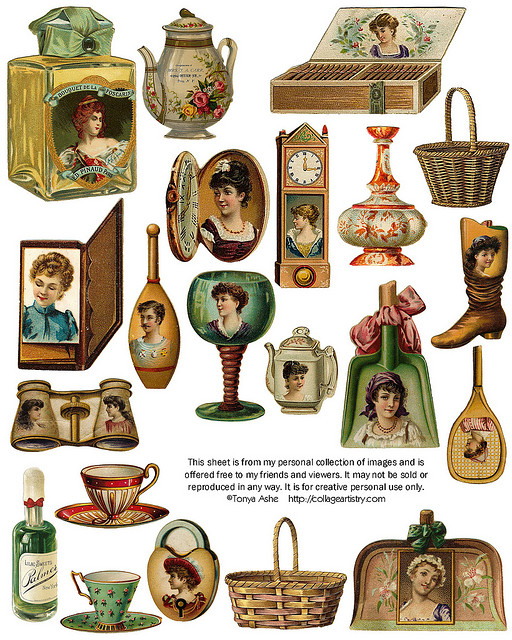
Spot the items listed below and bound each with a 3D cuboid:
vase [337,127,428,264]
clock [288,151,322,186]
[{"bbox_3d":[0.535,-0.541,4.138,0.386,0.396,0.608,-1,-87,-26],"label":"vase"},{"bbox_3d":[0.205,-0.664,4.102,0.135,0.018,0.137,4,-85,-2],"label":"clock"}]
